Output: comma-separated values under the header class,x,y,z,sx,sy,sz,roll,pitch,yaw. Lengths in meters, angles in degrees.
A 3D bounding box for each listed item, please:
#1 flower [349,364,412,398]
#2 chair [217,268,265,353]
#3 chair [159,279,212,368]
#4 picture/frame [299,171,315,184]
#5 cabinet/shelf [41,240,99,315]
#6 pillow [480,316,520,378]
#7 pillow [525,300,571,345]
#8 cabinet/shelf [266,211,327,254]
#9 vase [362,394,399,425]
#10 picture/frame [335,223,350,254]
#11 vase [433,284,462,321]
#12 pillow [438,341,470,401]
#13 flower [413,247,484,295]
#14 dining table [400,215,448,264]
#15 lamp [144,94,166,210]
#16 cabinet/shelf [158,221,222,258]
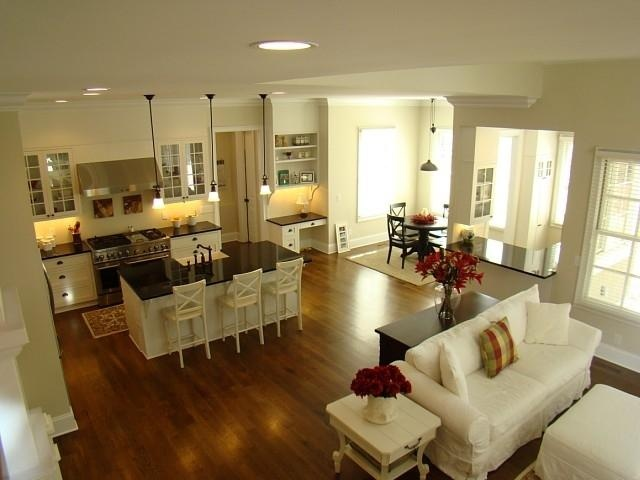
class,x,y,z,sx,sy,sz,roll,pitch,yaw
flower,0.445,1.293,3.991,0.487,0.354,0.451,-9,-22,34
chair,-1.122,0.915,6.356,0.552,1.139,0.568,-6,18,-22
chair,-1.805,1.086,6.016,0.573,1.338,0.599,-14,38,-29
picture/frame,-0.290,-1.353,9.813,0.383,0.345,0.212,0,17,-5
cabinet/shelf,-4.156,0.551,7.481,0.759,1.051,0.675,-8,24,-18
pillow,1.843,1.115,4.744,0.451,0.351,0.163,-21,19,-40
pillow,2.566,0.942,5.172,0.402,0.452,0.158,5,-7,16
cabinet/shelf,-0.512,-0.486,9.799,1.416,1.057,0.805,-15,22,-40
vase,0.503,1.430,3.951,0.251,0.296,0.253,0,16,-9
picture/frame,0.478,-0.065,10.104,0.513,0.941,0.062,-12,16,-39
vase,1.483,0.729,5.328,0.278,0.456,0.304,-7,15,-29
pillow,1.231,1.220,4.263,0.130,0.400,0.401,-12,11,10
flower,1.475,0.381,5.214,0.505,0.460,0.503,-3,8,9
dining table,2.156,0.054,9.458,0.907,0.710,0.921,15,26,36
lamp,-2.673,-1.472,7.365,0.287,2.382,0.305,-12,-22,-2
cabinet/shelf,-2.416,-0.058,8.517,1.126,0.722,0.635,-13,20,-38
